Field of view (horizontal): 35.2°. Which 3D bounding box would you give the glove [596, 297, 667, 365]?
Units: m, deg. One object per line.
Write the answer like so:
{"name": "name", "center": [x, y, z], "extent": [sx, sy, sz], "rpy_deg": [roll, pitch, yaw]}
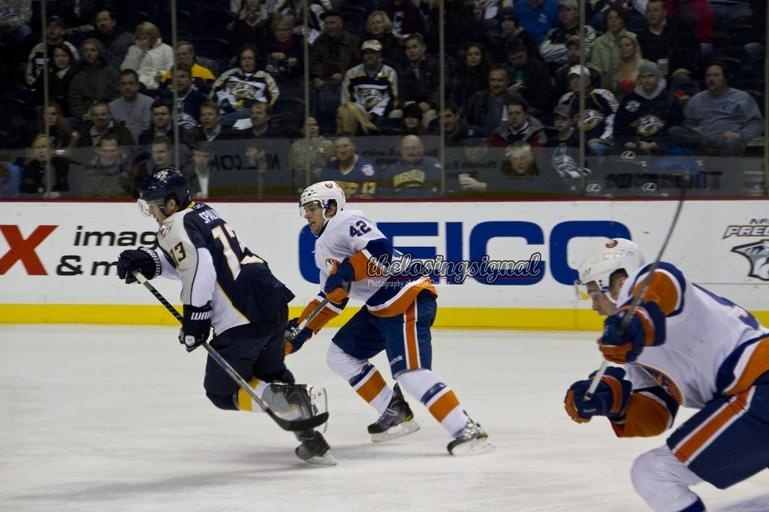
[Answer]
{"name": "glove", "center": [1.539, 0.485, 7.570], "extent": [0.455, 0.318, 0.200], "rpy_deg": [-29, -5, 12]}

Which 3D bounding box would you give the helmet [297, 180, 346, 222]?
{"name": "helmet", "center": [-0.459, -0.421, 9.149], "extent": [0.366, 0.285, 0.259], "rpy_deg": [5, -11, -5]}

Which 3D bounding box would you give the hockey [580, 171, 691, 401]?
{"name": "hockey", "center": [1.857, 0.244, 8.950], "extent": [0.214, 0.230, 2.479], "rpy_deg": [-37, 17, 48]}

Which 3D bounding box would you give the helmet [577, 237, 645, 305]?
{"name": "helmet", "center": [1.463, 0.071, 7.870], "extent": [0.448, 0.326, 0.348], "rpy_deg": [0, 1, 12]}

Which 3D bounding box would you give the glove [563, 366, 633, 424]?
{"name": "glove", "center": [1.389, 0.900, 7.763], "extent": [0.469, 0.295, 0.207], "rpy_deg": [-9, -8, -22]}

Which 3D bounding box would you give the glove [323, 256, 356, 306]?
{"name": "glove", "center": [-0.326, 0.181, 8.926], "extent": [0.155, 0.315, 0.244], "rpy_deg": [17, 19, 15]}

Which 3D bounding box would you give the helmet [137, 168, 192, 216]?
{"name": "helmet", "center": [-1.565, -0.472, 8.796], "extent": [0.396, 0.298, 0.301], "rpy_deg": [0, 10, -5]}

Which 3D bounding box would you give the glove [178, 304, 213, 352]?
{"name": "glove", "center": [-1.331, 0.495, 8.591], "extent": [0.241, 0.337, 0.126], "rpy_deg": [-4, 10, -11]}
